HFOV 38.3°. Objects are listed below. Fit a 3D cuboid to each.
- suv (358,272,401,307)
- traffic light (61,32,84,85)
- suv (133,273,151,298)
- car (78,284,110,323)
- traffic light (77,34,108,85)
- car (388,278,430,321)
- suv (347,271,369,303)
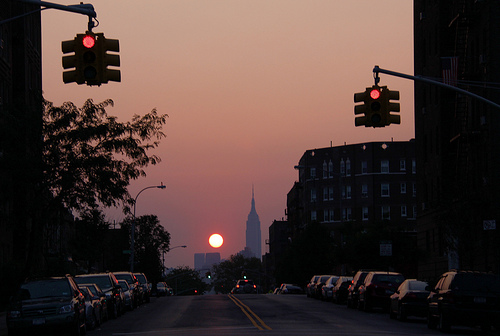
[{"bbox_3d":[7.784,7.485,42.790,2.285,2.431,5.404,3,-10,3],"label":"suv"},{"bbox_3d":[-6.553,-3.998,26.772,0.827,1.799,0.577,-4,-2,-8],"label":"traffic light"},{"bbox_3d":[-8.357,9.085,55.613,1.105,1.348,2.348,0,-25,-4],"label":"suv"},{"bbox_3d":[-8.936,6.807,36.442,1.408,2.249,3.646,0,-5,0],"label":"car"},{"bbox_3d":[-5.888,-4.037,26.599,1.104,2.062,0.708,-3,-12,-4],"label":"traffic light"},{"bbox_3d":[8.569,6.818,37.105,2.083,2.042,5.294,5,-6,1],"label":"car"},{"bbox_3d":[6.790,7.608,45.025,1.069,1.226,2.043,0,-9,3],"label":"suv"}]
